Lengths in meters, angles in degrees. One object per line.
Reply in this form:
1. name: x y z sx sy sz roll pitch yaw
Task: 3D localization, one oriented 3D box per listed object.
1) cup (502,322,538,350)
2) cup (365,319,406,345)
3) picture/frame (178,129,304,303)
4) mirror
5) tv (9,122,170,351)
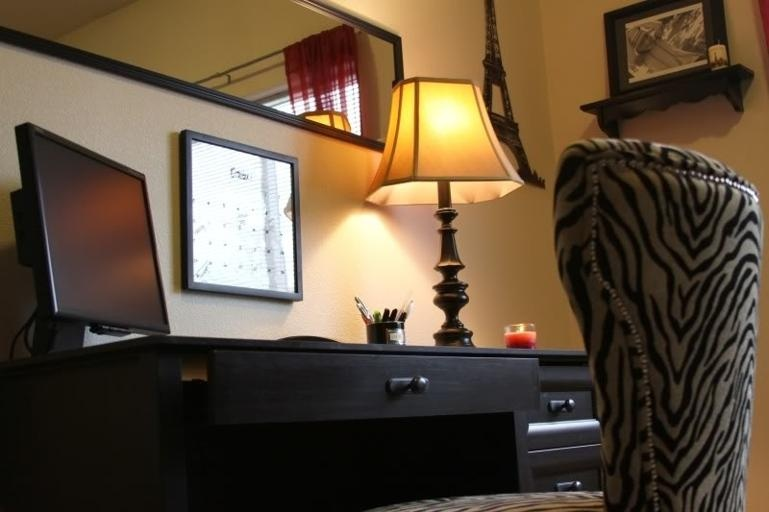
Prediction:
1. cup: 0.419 0.246 1.981 0.102 0.078 0.104 0 -6 0
2. cup: 0.001 0.202 1.706 0.069 0.045 0.071 -2 -3 0
3. picture/frame: -0.411 -0.099 1.753 0.032 0.504 0.438 -20 -22 41
4. mirror: -0.515 -0.478 1.719 0.741 0.276 0.019 1 -34 -46
5. tv: -0.640 -0.031 1.347 0.210 0.476 0.402 -14 -18 15
